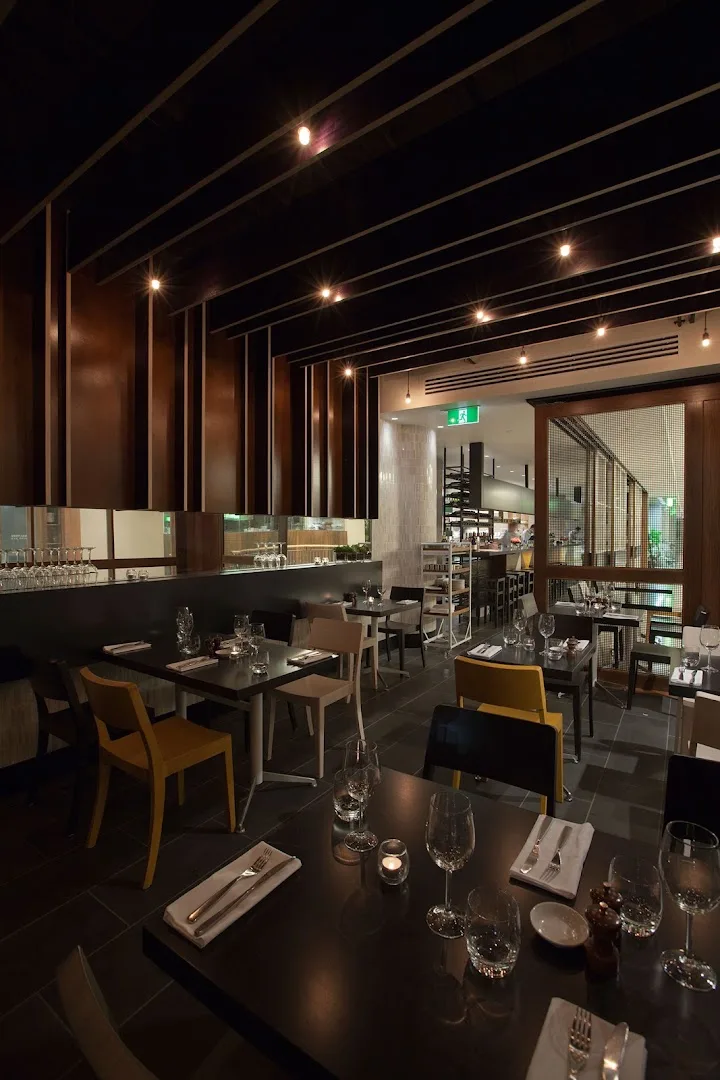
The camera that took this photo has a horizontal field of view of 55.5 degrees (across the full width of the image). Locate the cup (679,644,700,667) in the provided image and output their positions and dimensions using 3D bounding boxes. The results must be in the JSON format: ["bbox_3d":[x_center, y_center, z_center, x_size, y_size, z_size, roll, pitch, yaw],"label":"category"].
[{"bbox_3d":[1.635,0.578,3.411,0.091,0.092,0.077,-1,2,39],"label":"cup"}]

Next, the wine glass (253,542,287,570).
[{"bbox_3d":[-0.723,0.138,5.576,0.182,0.189,0.195,1,-2,34],"label":"wine glass"}]

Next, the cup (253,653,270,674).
[{"bbox_3d":[-0.452,0.560,3.084,0.064,0.094,0.074,0,-7,4],"label":"cup"}]

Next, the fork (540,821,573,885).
[{"bbox_3d":[0.438,0.685,1.541,0.033,0.018,0.271,2,3,22],"label":"fork"}]

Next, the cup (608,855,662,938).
[{"bbox_3d":[0.537,0.692,1.328,0.098,0.136,0.117,-1,-4,-8],"label":"cup"}]

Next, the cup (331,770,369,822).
[{"bbox_3d":[-0.022,0.622,1.664,0.093,0.130,0.111,1,-5,-4],"label":"cup"}]

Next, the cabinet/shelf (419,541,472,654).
[{"bbox_3d":[0.937,0.601,7.416,0.315,1.185,0.536,2,4,35],"label":"cabinet/shelf"}]

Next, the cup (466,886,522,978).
[{"bbox_3d":[0.233,0.698,1.235,0.084,0.144,0.127,0,-5,0],"label":"cup"}]

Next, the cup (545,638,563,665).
[{"bbox_3d":[1.044,0.618,3.690,0.079,0.131,0.113,0,-4,-13],"label":"cup"}]

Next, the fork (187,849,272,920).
[{"bbox_3d":[-0.260,0.699,1.451,0.042,0.049,0.366,3,5,14],"label":"fork"}]
